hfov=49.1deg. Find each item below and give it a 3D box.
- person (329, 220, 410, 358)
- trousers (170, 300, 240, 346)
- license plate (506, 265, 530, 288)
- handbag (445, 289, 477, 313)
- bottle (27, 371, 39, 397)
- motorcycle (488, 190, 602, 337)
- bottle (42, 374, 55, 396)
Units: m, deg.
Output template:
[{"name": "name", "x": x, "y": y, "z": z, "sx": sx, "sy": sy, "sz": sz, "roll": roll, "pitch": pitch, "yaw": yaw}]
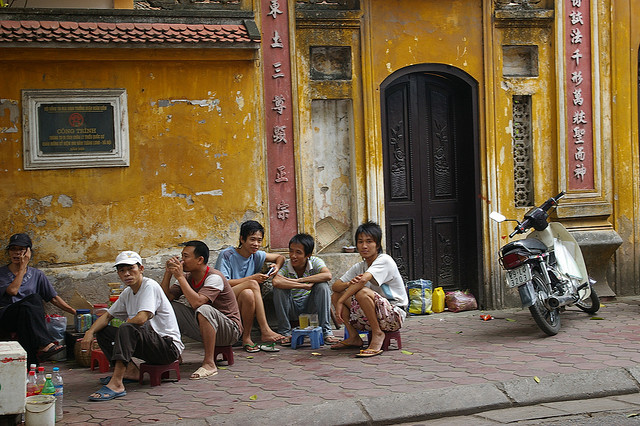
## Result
[{"name": "person", "x": 0.561, "y": 0.922, "z": 8.575, "sx": 0.973, "sy": 1.207, "sz": 0.561, "roll": -4, "pitch": -2, "yaw": 5}, {"name": "trousers", "x": -1.398, "y": 1.308, "z": 8.194, "sx": 0.688, "sy": 0.550, "sz": 0.532, "roll": -4, "pitch": -2, "yaw": 32}, {"name": "license plate", "x": 2.538, "y": 0.806, "z": 8.945, "sx": 0.031, "sy": 0.185, "sz": 0.283, "roll": 16, "pitch": -27, "yaw": -36}, {"name": "handbag", "x": 2.100, "y": 1.286, "z": 10.607, "sx": 0.548, "sy": 0.359, "sz": 0.275, "roll": -3, "pitch": -29, "yaw": -23}, {"name": "bottle", "x": -2.816, "y": 1.667, "z": 6.831, "sx": 0.119, "sy": 0.217, "sz": 0.089, "roll": -5, "pitch": -2, "yaw": 26}, {"name": "motorcycle", "x": 2.951, "y": 0.753, "z": 9.178, "sx": 1.076, "sy": 1.563, "sz": 0.622, "roll": -2, "pitch": -2, "yaw": -37}, {"name": "bottle", "x": -2.641, "y": 1.679, "z": 6.793, "sx": 0.109, "sy": 0.196, "sz": 0.187, "roll": -3, "pitch": -2, "yaw": -21}]
